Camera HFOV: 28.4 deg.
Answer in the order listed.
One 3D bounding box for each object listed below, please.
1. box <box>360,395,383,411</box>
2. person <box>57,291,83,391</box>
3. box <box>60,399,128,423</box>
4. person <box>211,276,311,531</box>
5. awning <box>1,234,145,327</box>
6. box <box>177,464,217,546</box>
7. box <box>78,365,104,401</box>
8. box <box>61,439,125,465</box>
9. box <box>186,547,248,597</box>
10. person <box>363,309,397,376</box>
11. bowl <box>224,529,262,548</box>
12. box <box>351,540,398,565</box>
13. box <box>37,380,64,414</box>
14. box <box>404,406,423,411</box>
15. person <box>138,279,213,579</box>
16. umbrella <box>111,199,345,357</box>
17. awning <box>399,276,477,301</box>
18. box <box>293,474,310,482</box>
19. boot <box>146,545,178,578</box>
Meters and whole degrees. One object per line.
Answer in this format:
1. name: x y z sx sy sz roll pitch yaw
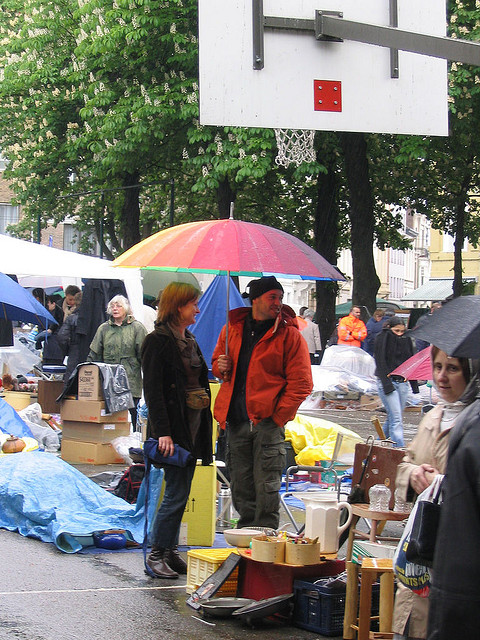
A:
1. box: 2.445 1.524 17.652 0.425 0.296 0.205 -2 3 -12
2. person: -2.421 0.253 13.483 0.364 1.140 0.743 -2 3 -11
3. box: -1.689 1.052 11.119 0.471 0.163 0.344 1 0 43
4. person: 0.146 0.514 6.097 0.434 1.572 0.757 -4 4 -42
5. awning: -2.541 -0.575 14.471 2.587 1.021 2.597 5 -4 -8
6. box: -0.318 1.332 6.876 0.266 0.552 0.186 -1 3 4
7. box: -1.783 0.717 11.142 0.147 0.404 0.420 -4 4 -45
8. box: -1.644 1.484 10.761 0.357 0.172 0.482 0 2 -42
9. box: -0.098 1.460 5.577 0.459 0.224 0.481 -2 -7 14
10. person: 2.764 0.284 18.094 0.392 1.290 0.413 -16 15 -26
11. bowl: 0.008 1.229 5.484 0.130 0.052 0.126 2 -4 0
12. box: 0.727 1.268 5.185 0.231 0.111 0.351 -1 3 6
13. box: -2.775 1.113 13.826 0.377 0.510 0.246 -2 3 -11
14. box: 3.333 1.679 18.154 0.190 0.068 0.141 -3 2 14
15. person: -0.409 0.679 6.089 0.384 1.846 0.536 -1 3 14
16. umbrella: -0.062 -0.322 6.294 1.104 0.824 1.087 1 1 1
17. awning: 9.197 -1.461 45.178 1.905 0.961 7.279 -1 3 13
18. box: 0.669 1.702 10.402 0.139 0.068 0.188 1 -3 -4
19. boot: -0.483 1.512 6.017 0.119 0.188 0.264 9 -3 -44
